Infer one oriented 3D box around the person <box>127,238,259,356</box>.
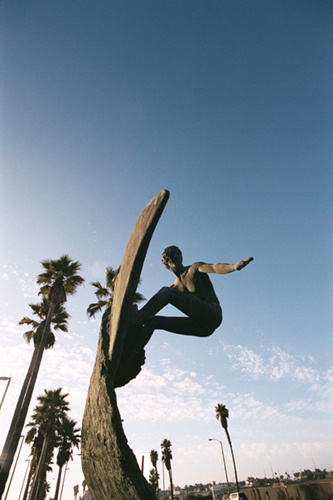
[{"bbox_3d":[0.103,0.576,3.735,0.527,0.750,1.001,21,-59,-17],"label":"person"}]
